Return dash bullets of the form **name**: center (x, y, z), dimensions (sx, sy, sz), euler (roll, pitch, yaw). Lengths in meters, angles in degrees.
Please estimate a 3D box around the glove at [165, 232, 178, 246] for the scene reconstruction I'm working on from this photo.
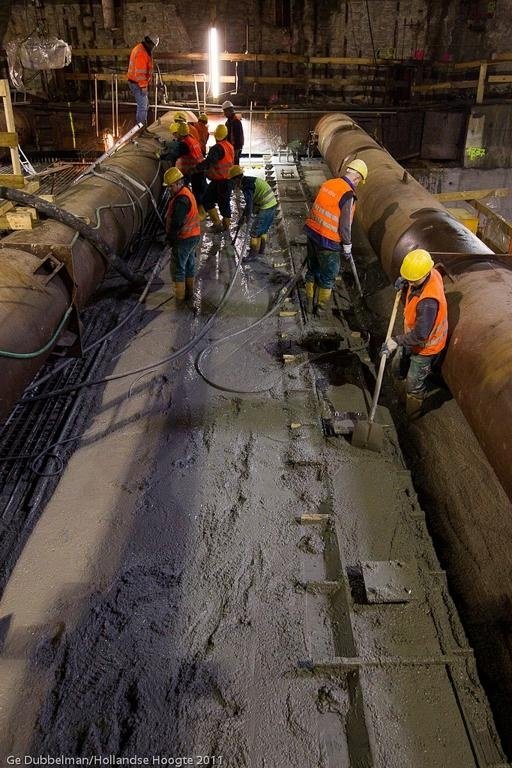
- **glove**: center (-0.954, -1.629, 5.212), dimensions (0.130, 0.122, 0.131), euler (-6, 39, -30)

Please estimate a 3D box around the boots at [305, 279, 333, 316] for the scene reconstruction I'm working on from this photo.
- **boots**: center (0.737, -1.011, 5.398), dimensions (0.229, 0.405, 0.280), euler (21, 65, 22)

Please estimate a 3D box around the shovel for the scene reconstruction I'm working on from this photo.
- **shovel**: center (0.931, -0.047, 3.482), dimensions (0.260, 1.379, 0.104), euler (10, 29, 9)

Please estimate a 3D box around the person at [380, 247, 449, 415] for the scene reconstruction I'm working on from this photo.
- **person**: center (1.239, -0.307, 3.640), dimensions (0.419, 1.489, 0.648), euler (10, 32, 14)

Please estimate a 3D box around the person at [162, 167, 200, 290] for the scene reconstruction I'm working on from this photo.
- **person**: center (-0.825, -1.651, 5.315), dimensions (0.368, 1.512, 0.475), euler (-4, 31, -9)

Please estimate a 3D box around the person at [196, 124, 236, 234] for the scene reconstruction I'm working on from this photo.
- **person**: center (-0.604, -3.093, 7.044), dimensions (0.510, 1.484, 0.617), euler (14, 24, 32)

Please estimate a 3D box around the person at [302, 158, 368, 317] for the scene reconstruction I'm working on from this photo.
- **person**: center (0.808, -1.518, 5.022), dimensions (0.441, 1.606, 0.664), euler (-16, 35, -26)

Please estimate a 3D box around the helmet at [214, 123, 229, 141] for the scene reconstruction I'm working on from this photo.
- **helmet**: center (-0.512, -3.671, 6.836), dimensions (0.194, 0.276, 0.138), euler (-1, 18, -14)

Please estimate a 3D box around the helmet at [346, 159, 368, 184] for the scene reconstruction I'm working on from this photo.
- **helmet**: center (1.073, -2.229, 4.872), dimensions (0.168, 0.234, 0.687), euler (9, 32, 12)

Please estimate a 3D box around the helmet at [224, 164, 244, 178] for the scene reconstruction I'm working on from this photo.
- **helmet**: center (-0.254, -2.681, 5.886), dimensions (0.163, 0.161, 0.276), euler (3, 31, 3)
